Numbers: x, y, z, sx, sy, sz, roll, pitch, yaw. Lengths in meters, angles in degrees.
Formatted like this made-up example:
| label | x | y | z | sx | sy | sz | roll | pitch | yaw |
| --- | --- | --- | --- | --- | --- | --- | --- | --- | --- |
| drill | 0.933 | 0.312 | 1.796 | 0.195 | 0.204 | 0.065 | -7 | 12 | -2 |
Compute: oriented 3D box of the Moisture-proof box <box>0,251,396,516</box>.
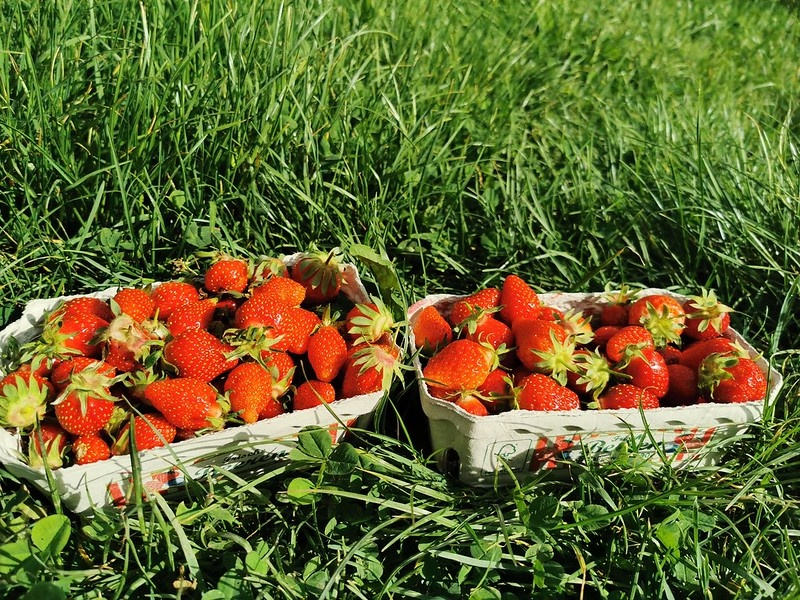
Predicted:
| label | x | y | z | sx | sy | sz | roll | pitch | yaw |
| --- | --- | --- | --- | --- | --- | --- | --- | --- | --- |
| Moisture-proof box | -0.510 | 0.255 | 2.046 | 0.952 | 0.318 | 0.552 | -16 | 73 | -13 |
